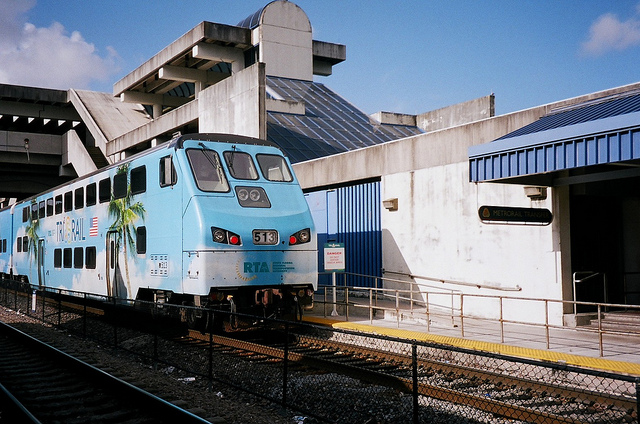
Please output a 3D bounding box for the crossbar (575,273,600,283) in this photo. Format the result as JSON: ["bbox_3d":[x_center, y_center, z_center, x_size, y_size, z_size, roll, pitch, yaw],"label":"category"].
[{"bbox_3d":[8.787,2.150,20.703,0.684,0.251,2.054,-6,-9,25],"label":"crossbar"}]

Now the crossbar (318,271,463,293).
[{"bbox_3d":[3.063,2.733,24.671,4.689,0.530,0.425,11,-3,-18],"label":"crossbar"}]
